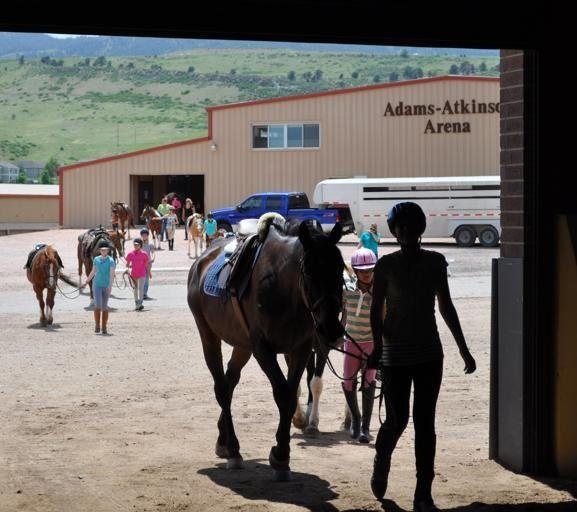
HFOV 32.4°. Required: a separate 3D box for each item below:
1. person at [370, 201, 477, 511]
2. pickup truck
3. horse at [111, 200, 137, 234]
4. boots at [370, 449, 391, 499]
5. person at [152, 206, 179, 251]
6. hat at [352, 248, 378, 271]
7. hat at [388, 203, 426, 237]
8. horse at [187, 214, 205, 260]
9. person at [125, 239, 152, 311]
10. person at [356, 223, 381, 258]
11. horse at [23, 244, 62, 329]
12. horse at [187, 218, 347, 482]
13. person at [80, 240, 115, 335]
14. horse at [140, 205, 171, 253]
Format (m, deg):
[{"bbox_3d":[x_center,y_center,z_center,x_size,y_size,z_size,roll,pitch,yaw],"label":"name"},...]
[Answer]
[{"bbox_3d":[1.019,0.815,7.942,0.746,2.492,0.448,-1,4,4],"label":"person"},{"bbox_3d":[-0.208,-1.526,35.820,4.578,1.977,2.382,1,2,0],"label":"pickup truck"},{"bbox_3d":[-5.844,-1.366,36.088,1.517,1.099,0.369,-1,-3,43],"label":"horse"},{"bbox_3d":[0.756,1.800,8.190,0.123,0.415,0.164,-1,15,-3],"label":"boots"},{"bbox_3d":[-4.336,-0.909,33.448,0.429,1.332,1.844,-3,-9,22],"label":"person"},{"bbox_3d":[0.744,0.022,9.939,0.165,0.151,0.244,0,1,-3],"label":"hat"},{"bbox_3d":[0.962,-0.288,8.094,0.233,0.305,0.301,1,13,6],"label":"hat"},{"bbox_3d":[-2.800,-0.613,29.843,0.402,1.190,1.692,6,-4,-12],"label":"horse"},{"bbox_3d":[-3.037,0.356,20.105,0.461,1.478,1.839,-2,4,-8],"label":"person"},{"bbox_3d":[1.724,-0.110,21.479,0.348,1.178,0.331,5,-15,5],"label":"person"},{"bbox_3d":[-4.287,0.543,17.536,0.548,1.458,1.228,-3,4,-21],"label":"horse"},{"bbox_3d":[-0.201,0.782,9.088,0.761,2.331,2.463,-3,4,-22],"label":"horse"},{"bbox_3d":[-3.192,0.528,16.876,0.485,1.591,1.431,-2,4,-12],"label":"person"},{"bbox_3d":[-4.497,-0.966,33.667,0.471,1.351,1.818,-10,-8,1],"label":"horse"}]
